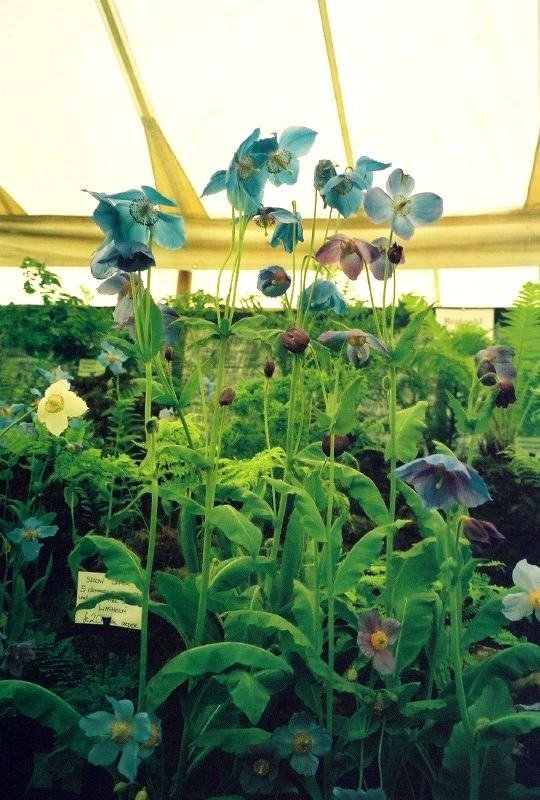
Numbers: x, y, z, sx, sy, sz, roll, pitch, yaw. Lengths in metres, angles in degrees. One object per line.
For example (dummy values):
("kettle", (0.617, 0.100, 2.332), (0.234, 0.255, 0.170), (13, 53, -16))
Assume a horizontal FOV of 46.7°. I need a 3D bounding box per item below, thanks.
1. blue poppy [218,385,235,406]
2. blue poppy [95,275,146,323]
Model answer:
("blue poppy", (-0.070, -0.005, 0.991), (0.021, 0.029, 0.011), (12, -12, 19))
("blue poppy", (-0.226, -0.149, 0.926), (0.049, 0.078, 0.072), (6, -7, -8))
